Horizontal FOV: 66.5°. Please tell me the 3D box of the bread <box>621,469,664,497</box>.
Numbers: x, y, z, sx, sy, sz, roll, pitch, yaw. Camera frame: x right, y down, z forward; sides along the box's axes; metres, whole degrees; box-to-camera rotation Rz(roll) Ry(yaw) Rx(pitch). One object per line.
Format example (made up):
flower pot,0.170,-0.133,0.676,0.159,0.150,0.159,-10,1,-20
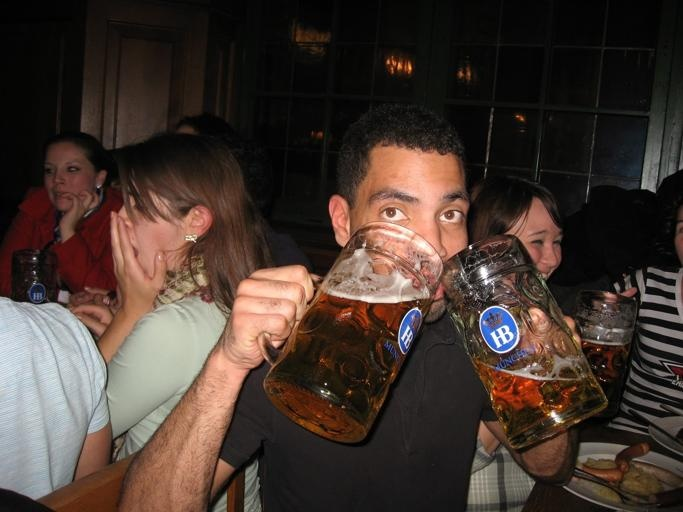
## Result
bread,0.859,0.636,1.474,0.073,0.020,0.059,0,33,12
